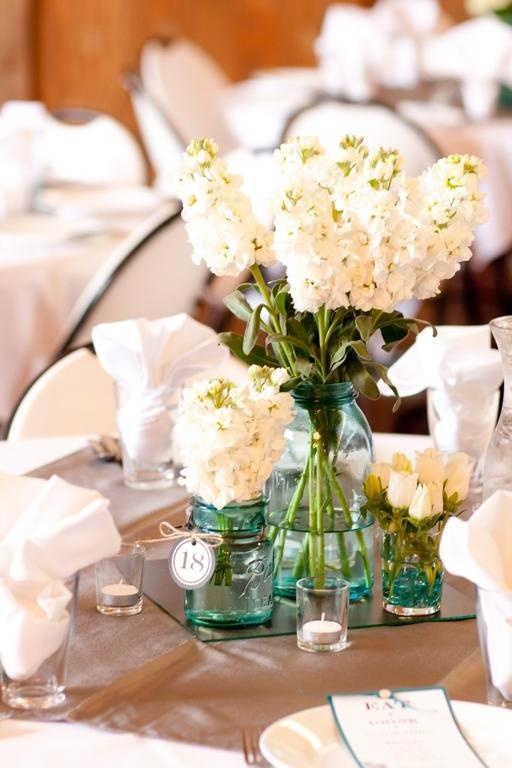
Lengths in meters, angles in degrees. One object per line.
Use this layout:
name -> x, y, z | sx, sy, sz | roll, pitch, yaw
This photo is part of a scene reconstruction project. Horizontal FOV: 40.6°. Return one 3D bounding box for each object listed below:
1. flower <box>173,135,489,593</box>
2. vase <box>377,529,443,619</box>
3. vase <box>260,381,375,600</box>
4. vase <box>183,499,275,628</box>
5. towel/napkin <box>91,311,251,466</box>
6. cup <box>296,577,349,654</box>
flower -> 0.061, -0.014, 0.722 | 0.272, 0.426, 0.232 | 7, 10, 24
vase -> 0.168, 0.194, 0.743 | 0.068, 0.096, 0.061 | 2, -6, 2
vase -> 0.072, 0.122, 0.789 | 0.139, 0.233, 0.133 | -2, 1, -22
vase -> -0.025, 0.182, 0.717 | 0.089, 0.120, 0.090 | -8, -7, 43
towel/napkin -> -0.179, 0.011, 1.186 | 0.269, 0.252, 0.214 | -7, -17, 26
cup -> 0.061, 0.224, 0.680 | 0.062, 0.065, 0.061 | 0, 2, 0
